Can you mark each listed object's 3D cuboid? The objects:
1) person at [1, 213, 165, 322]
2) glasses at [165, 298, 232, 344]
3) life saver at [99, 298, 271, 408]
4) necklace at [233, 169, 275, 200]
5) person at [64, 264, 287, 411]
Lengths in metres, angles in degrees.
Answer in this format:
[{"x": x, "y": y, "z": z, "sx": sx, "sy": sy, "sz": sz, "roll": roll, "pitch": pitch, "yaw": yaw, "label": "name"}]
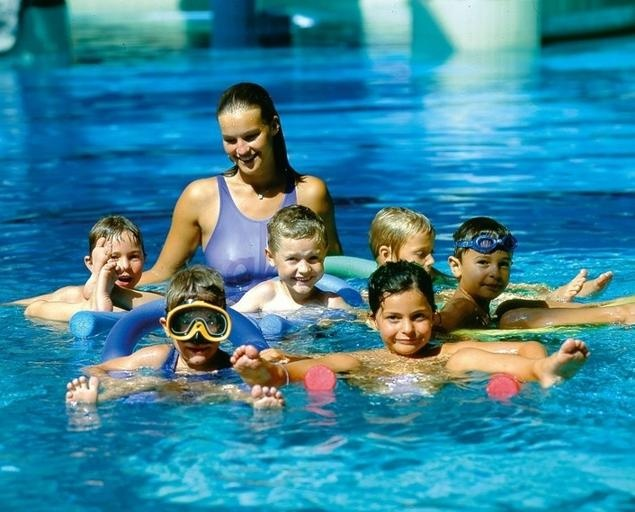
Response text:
[{"x": -1.483, "y": 0.107, "z": 4.543, "sx": 1.443, "sy": 0.572, "sz": 0.670, "roll": 0, "pitch": -1, "yaw": -11, "label": "person"}, {"x": -0.559, "y": 0.302, "z": 3.364, "sx": 0.323, "sy": 0.143, "sz": 0.062, "roll": 1, "pitch": -4, "yaw": -4, "label": "glasses"}, {"x": -0.594, "y": 0.390, "z": 3.532, "sx": 0.980, "sy": 0.356, "sz": 1.100, "roll": 2, "pitch": 2, "yaw": -4, "label": "life saver"}, {"x": -0.439, "y": -0.489, "z": 4.982, "sx": 0.206, "sy": 0.146, "sz": 0.234, "roll": 10, "pitch": 10, "yaw": -14, "label": "necklace"}, {"x": -0.695, "y": 0.362, "z": 3.401, "sx": 0.713, "sy": 0.355, "sz": 0.816, "roll": 2, "pitch": 5, "yaw": 4, "label": "person"}]
